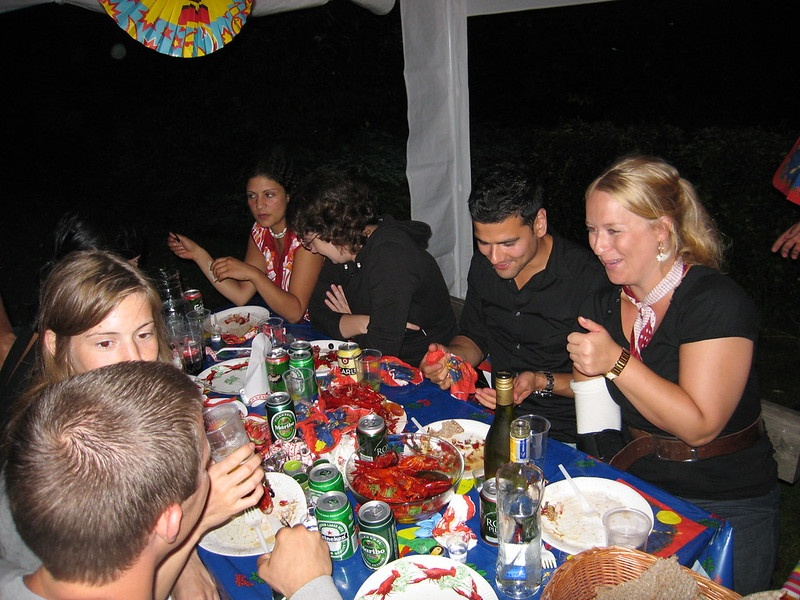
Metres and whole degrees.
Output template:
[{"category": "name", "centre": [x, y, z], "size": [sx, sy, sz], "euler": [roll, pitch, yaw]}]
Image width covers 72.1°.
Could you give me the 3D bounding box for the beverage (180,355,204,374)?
[{"category": "beverage", "centre": [-1.145, 0.365, 3.043], "size": [0.104, 0.105, 0.101], "euler": [7, 6, 16]}]

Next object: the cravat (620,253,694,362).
[{"category": "cravat", "centre": [1.188, 0.031, 2.497], "size": [0.272, 0.515, 0.304], "euler": [-16, 24, -15]}]

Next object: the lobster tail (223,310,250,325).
[{"category": "lobster tail", "centre": [-1.086, 0.128, 3.674], "size": [0.096, 0.017, 0.097], "euler": [22, 33, 30]}]

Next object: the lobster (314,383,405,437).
[{"category": "lobster", "centre": [-0.156, 0.473, 2.534], "size": [0.253, 0.074, 0.239], "euler": [21, 19, 13]}]

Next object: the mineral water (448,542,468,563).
[{"category": "mineral water", "centre": [0.204, 0.872, 1.895], "size": [0.073, 0.046, 0.052], "euler": [-4, 11, 2]}]

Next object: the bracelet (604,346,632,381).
[{"category": "bracelet", "centre": [0.934, 0.274, 2.343], "size": [0.068, 0.100, 0.108], "euler": [32, 35, 13]}]

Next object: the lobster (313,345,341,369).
[{"category": "lobster", "centre": [-0.413, 0.319, 3.065], "size": [0.120, 0.039, 0.115], "euler": [-5, 24, -8]}]

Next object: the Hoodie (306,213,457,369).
[{"category": "Hoodie", "centre": [-0.150, -0.037, 3.396], "size": [0.695, 0.971, 0.704], "euler": [-23, 27, -34]}]

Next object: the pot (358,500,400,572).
[{"category": "pot", "centre": [-0.070, 0.794, 1.829], "size": [0.122, 0.236, 0.072], "euler": [-6, 12, -6]}]

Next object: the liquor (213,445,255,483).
[{"category": "liquor", "centre": [-0.570, 0.573, 1.903], "size": [0.124, 0.028, 0.032], "euler": [-21, -9, -28]}]

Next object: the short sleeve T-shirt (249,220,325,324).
[{"category": "short sleeve T-shirt", "centre": [-0.844, -0.204, 4.336], "size": [0.563, 0.709, 0.310], "euler": [0, -3, 31]}]
